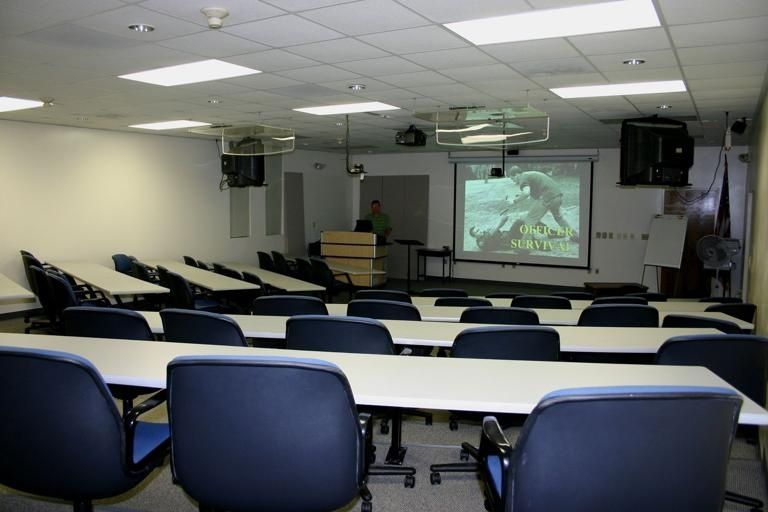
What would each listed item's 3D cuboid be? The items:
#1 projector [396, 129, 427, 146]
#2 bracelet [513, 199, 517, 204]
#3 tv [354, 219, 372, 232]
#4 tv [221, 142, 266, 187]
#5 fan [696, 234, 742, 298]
[{"bbox_3d":[0.395,-1.758,8.444,0.337,0.151,0.427,1,2,3],"label":"projector"},{"bbox_3d":[2.858,-1.187,12.469,0.113,0.092,0.056,2,8,16],"label":"bracelet"},{"bbox_3d":[-0.463,-0.645,12.321,0.471,0.255,0.298,2,7,8],"label":"tv"},{"bbox_3d":[-2.230,-1.428,8.967,0.683,0.696,0.769,-5,6,-41],"label":"tv"},{"bbox_3d":[5.197,0.205,8.835,0.721,0.967,0.542,0,-6,19],"label":"fan"}]
